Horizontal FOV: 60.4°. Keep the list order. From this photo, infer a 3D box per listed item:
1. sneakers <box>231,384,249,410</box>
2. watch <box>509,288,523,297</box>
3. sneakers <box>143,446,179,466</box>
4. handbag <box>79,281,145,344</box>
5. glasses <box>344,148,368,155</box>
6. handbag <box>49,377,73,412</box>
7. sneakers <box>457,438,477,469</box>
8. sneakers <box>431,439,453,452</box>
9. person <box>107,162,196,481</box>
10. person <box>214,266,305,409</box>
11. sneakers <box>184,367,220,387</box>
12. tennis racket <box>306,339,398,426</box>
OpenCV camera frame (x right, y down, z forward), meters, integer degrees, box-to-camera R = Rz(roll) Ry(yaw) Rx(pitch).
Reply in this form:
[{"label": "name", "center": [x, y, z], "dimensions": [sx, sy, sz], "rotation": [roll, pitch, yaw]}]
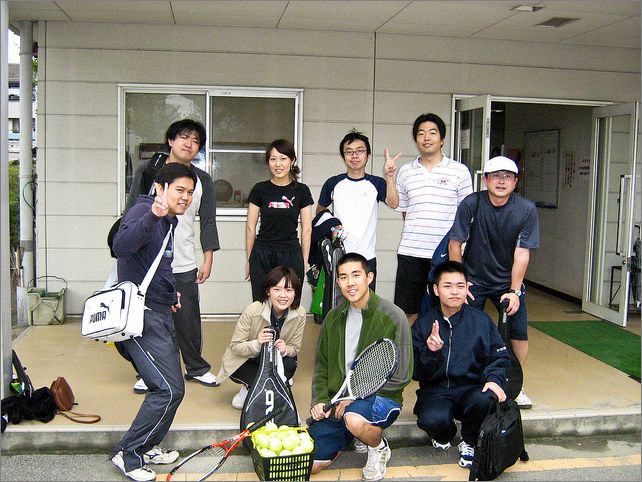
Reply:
[{"label": "sneakers", "center": [-0.639, 1.230, 4.431], "dimensions": [0.108, 0.129, 0.299], "rotation": [7, 7, 2]}, {"label": "watch", "center": [1.526, 0.411, 4.312], "dimensions": [0.079, 0.051, 0.080], "rotation": [5, -8, -11]}, {"label": "sneakers", "center": [-1.113, 1.491, 3.870], "dimensions": [0.251, 0.129, 0.102], "rotation": [0, 10, -10]}, {"label": "handbag", "center": [-1.352, 0.479, 3.584], "dimensions": [0.377, 0.367, 0.220], "rotation": [-15, -26, 24]}, {"label": "glasses", "center": [0.299, -0.762, 4.734], "dimensions": [0.196, 0.058, 0.068], "rotation": [2, 10, 0]}, {"label": "handbag", "center": [-1.952, 1.163, 4.172], "dimensions": [0.073, 0.233, 0.181], "rotation": [-14, 17, 15]}, {"label": "sneakers", "center": [1.019, 1.511, 3.867], "dimensions": [0.075, 0.089, 0.203], "rotation": [0, -1, 1]}, {"label": "sneakers", "center": [0.897, 1.521, 4.094], "dimensions": [0.151, 0.072, 0.058], "rotation": [-10, 21, 14]}, {"label": "person", "center": [-1.127, 0.525, 3.672], "dimensions": [0.589, 2.069, 0.489], "rotation": [-4, 11, -30]}, {"label": "person", "center": [-0.408, 0.753, 4.254], "dimensions": [0.698, 0.997, 0.683], "rotation": [-4, 22, -45]}, {"label": "sneakers", "center": [-1.005, 1.173, 4.777], "dimensions": [0.334, 0.147, 0.125], "rotation": [6, -4, 11]}, {"label": "tennis racket", "center": [0.173, 0.939, 3.555], "dimensions": [0.326, 0.831, 0.046], "rotation": [39, 15, -24]}]
